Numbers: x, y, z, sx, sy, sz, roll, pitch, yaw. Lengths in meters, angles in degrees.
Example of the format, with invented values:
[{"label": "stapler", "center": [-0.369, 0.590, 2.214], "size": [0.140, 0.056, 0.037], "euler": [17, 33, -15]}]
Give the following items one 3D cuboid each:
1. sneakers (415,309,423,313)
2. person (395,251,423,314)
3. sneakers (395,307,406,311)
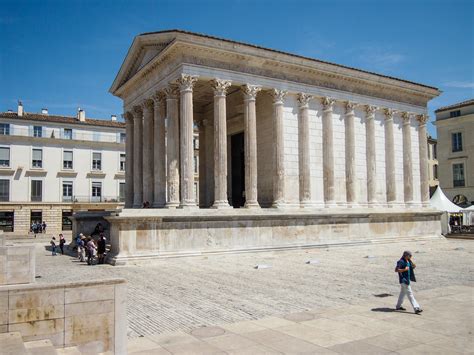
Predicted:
[{"label": "sneakers", "center": [5.702, 4.152, 15.136], "size": [0.314, 0.115, 0.087], "euler": [-1, -2, -6]}, {"label": "person", "center": [5.485, 3.327, 15.654], "size": [0.811, 1.894, 0.906], "euler": [-5, -6, 17]}, {"label": "sneakers", "center": [5.245, 4.171, 15.533], "size": [0.332, 0.119, 0.206], "euler": [-3, -6, 11]}]
